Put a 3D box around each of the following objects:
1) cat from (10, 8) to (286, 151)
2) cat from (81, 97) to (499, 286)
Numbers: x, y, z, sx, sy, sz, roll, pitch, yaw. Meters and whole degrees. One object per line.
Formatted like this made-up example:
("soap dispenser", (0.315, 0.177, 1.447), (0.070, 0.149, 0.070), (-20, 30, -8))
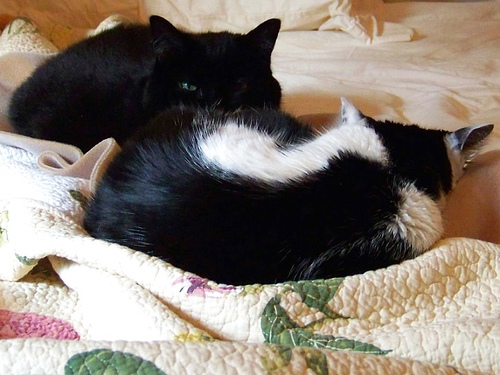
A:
("cat", (-0.317, -0.324, 1.825), (0.566, 0.277, 0.508), (-4, 14, 6))
("cat", (0.081, 0.013, 1.433), (0.640, 0.192, 0.492), (-9, 21, -12))
